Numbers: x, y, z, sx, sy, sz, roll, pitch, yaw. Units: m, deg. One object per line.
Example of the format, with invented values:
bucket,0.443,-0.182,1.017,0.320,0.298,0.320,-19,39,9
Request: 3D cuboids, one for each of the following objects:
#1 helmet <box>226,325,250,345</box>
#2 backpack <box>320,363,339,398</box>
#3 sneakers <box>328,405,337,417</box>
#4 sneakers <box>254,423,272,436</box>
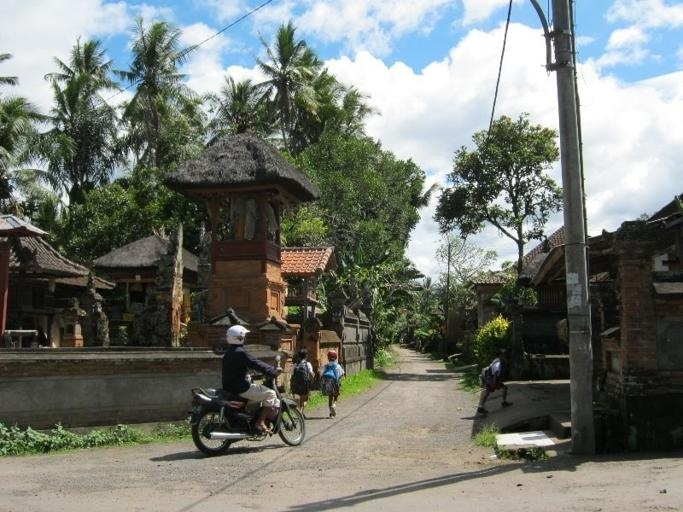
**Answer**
helmet,-1.958,1.481,13.787,0.401,0.345,0.361,2,11,-16
backpack,-0.271,3.076,18.125,0.454,0.858,0.463,0,2,0
sneakers,-0.240,3.912,18.189,0.151,0.156,0.382,-1,-48,3
sneakers,-1.450,3.232,13.666,0.150,0.209,0.465,-1,-5,20
